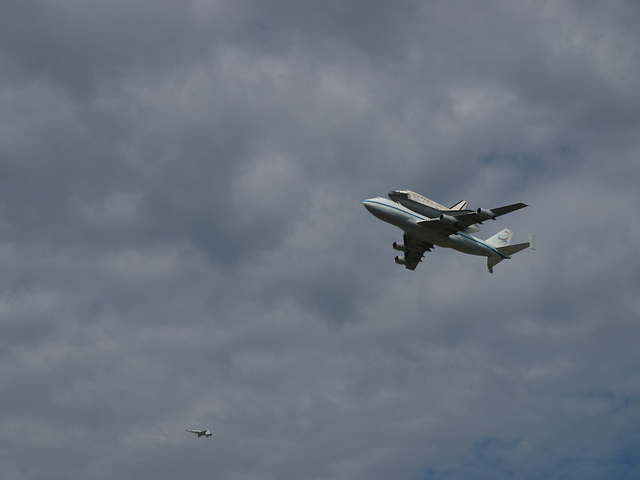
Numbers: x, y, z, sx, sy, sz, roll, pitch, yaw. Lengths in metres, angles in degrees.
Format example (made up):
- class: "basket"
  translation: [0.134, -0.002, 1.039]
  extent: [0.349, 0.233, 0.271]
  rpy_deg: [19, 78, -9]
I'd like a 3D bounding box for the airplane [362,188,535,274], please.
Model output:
- class: "airplane"
  translation: [21.634, -0.881, 205.519]
  extent: [21.487, 7.711, 21.758]
  rpy_deg: [24, -36, -3]
